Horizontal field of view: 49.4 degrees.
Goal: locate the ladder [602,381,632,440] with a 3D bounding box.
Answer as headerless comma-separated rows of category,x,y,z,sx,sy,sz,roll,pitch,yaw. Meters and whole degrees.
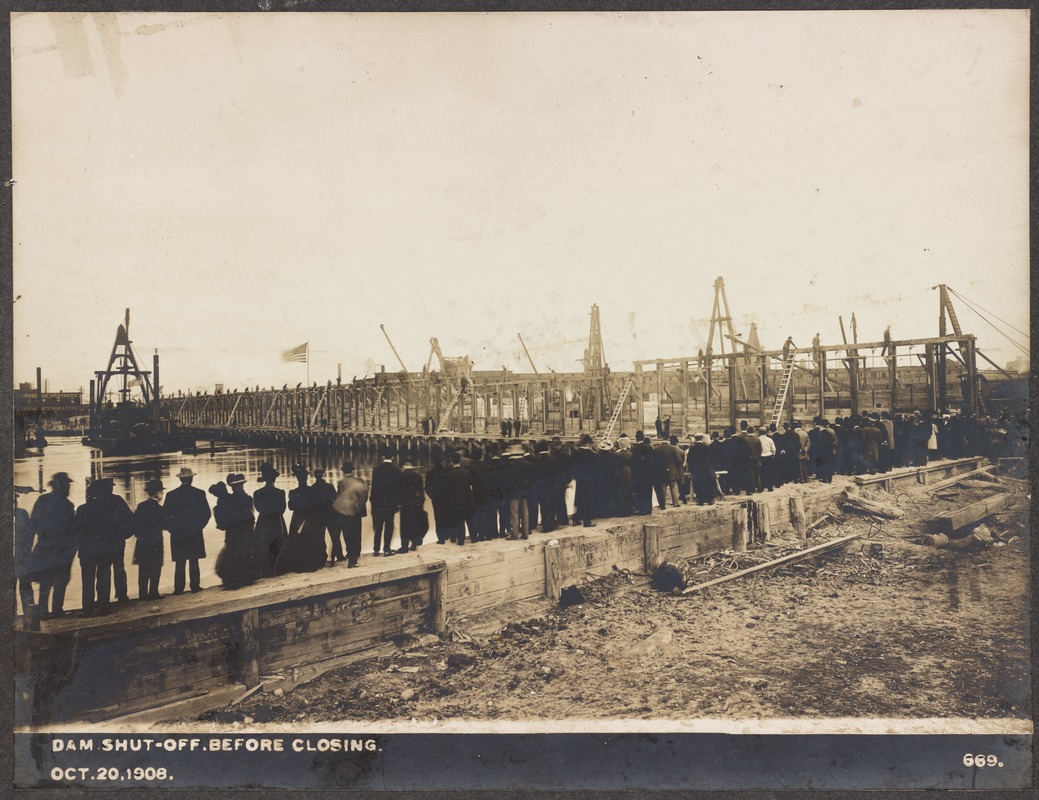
ladder,2.411,0.015,26.895,0.333,0.445,2.986,14,37,7
